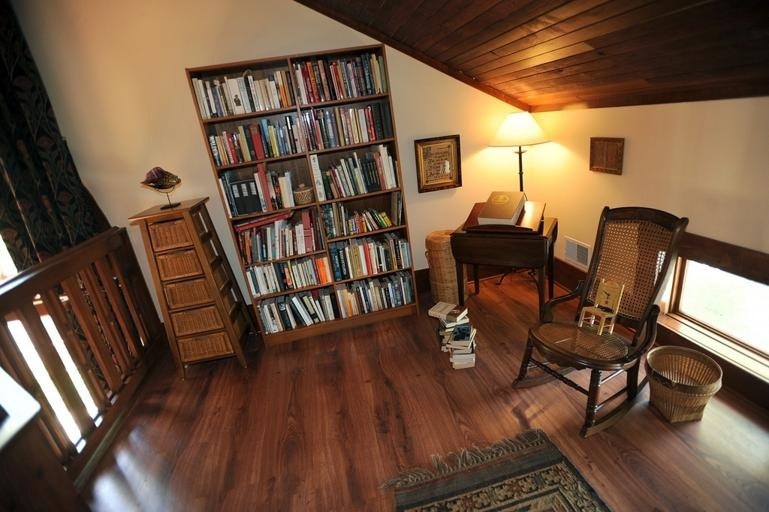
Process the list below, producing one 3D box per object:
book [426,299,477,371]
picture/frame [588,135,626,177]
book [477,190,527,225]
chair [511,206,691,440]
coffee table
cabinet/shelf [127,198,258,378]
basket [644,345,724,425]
[{"bbox_3d":[0.615,0.691,4.060,0.425,0.233,0.703,-10,35,6],"label":"book"},{"bbox_3d":[1.900,-0.865,4.037,0.024,0.338,0.346,-13,16,-22],"label":"picture/frame"},{"bbox_3d":[1.044,-0.379,4.288,0.311,0.092,0.457,3,39,25],"label":"book"},{"bbox_3d":[1.576,0.437,3.478,0.947,1.454,0.730,-17,22,-27],"label":"chair"},{"bbox_3d":[1.158,0.107,4.531,0.889,0.801,0.729,2,18,23],"label":"coffee table"},{"bbox_3d":[-1.748,0.269,4.382,0.729,1.510,0.633,-8,20,-5],"label":"cabinet/shelf"},{"bbox_3d":[2.168,0.933,3.593,0.515,0.427,0.571,1,26,8],"label":"basket"}]
